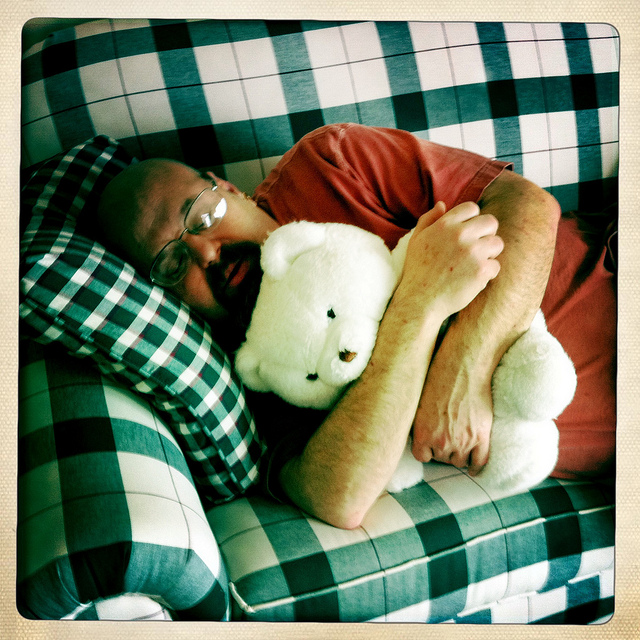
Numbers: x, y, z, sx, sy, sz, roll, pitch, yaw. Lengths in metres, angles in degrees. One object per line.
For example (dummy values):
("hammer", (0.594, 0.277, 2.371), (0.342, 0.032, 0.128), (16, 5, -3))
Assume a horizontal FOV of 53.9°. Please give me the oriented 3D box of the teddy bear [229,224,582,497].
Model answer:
("teddy bear", (0.121, -0.052, 1.032), (0.533, 0.425, 0.394), (3, 19, 0))
